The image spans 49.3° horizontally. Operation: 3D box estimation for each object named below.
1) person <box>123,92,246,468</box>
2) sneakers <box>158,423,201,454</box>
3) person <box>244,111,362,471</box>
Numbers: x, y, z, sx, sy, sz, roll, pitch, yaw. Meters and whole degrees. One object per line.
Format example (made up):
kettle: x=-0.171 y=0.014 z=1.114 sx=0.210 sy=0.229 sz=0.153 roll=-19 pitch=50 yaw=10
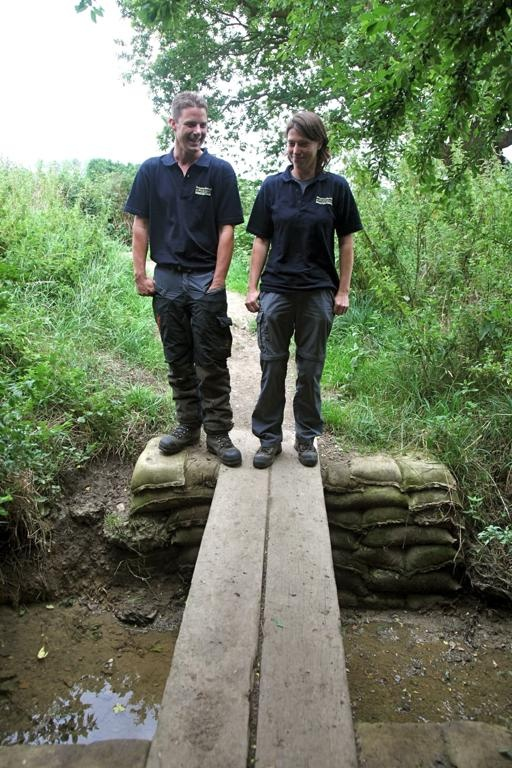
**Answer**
person: x=-0.391 y=-0.572 z=3.341 sx=0.668 sy=2.132 sz=0.388 roll=-2 pitch=10 yaw=4
sneakers: x=-0.485 y=0.325 z=3.720 sx=0.126 sy=0.169 sz=0.339 roll=42 pitch=32 yaw=27
person: x=0.273 y=-0.479 z=3.234 sx=0.660 sy=1.977 sz=0.383 roll=-1 pitch=10 yaw=10
